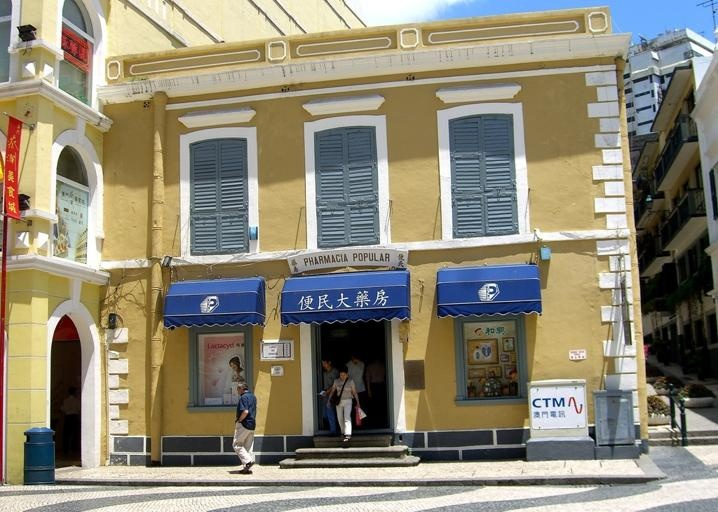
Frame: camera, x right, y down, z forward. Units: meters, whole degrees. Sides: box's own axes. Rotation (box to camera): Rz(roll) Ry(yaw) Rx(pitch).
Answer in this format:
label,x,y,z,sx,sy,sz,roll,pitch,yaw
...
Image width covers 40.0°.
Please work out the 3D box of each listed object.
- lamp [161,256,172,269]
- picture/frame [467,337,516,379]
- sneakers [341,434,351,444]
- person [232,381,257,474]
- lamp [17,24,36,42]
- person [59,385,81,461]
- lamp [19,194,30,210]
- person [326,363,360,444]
label,x,y,z,sx,sy,sz,roll,pitch,yaw
lamp,-5.465,0.182,27.770,0.315,0.337,0.172,-4,-15,12
picture/frame,3.609,2.822,26.479,1.100,0.911,0.054,1,-1,4
sneakers,-0.341,4.917,26.242,0.179,0.254,0.117,0,-2,28
person,-3.055,4.591,26.085,0.578,2.375,1.179,1,-15,-6
lamp,-8.926,-5.939,26.270,0.412,0.385,0.214,-8,-23,2
person,-8.824,5.090,29.897,0.632,2.153,1.443,4,-15,-16
lamp,-8.838,-1.380,25.801,0.250,0.444,0.124,0,-15,-3
person,-0.419,4.043,26.590,0.632,2.120,0.976,-10,-17,32
